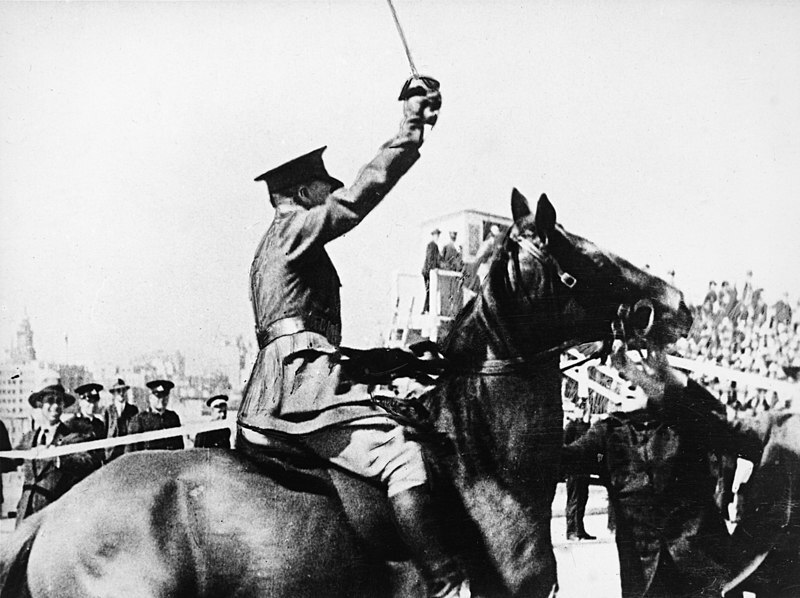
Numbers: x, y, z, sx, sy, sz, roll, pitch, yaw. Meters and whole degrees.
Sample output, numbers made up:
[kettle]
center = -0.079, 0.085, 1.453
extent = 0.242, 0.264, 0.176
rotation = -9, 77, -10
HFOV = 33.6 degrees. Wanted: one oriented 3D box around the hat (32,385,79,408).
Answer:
[hat]
center = -2.053, 0.622, 7.864
extent = 0.166, 0.055, 0.170
rotation = -23, -30, 21
